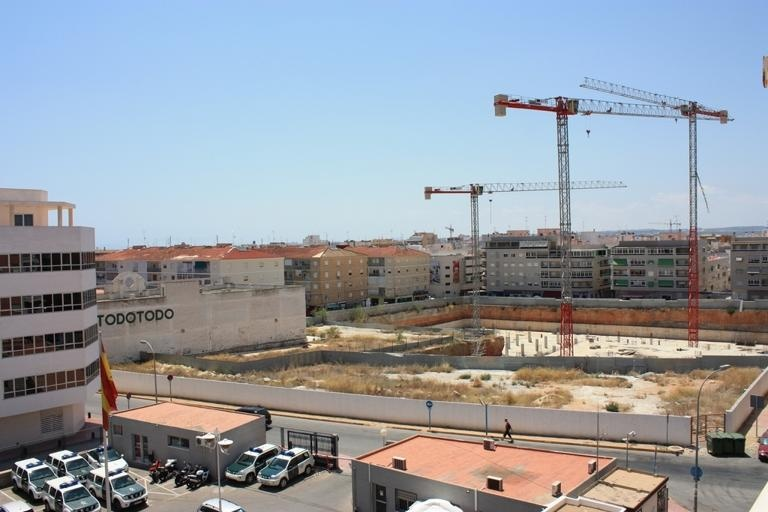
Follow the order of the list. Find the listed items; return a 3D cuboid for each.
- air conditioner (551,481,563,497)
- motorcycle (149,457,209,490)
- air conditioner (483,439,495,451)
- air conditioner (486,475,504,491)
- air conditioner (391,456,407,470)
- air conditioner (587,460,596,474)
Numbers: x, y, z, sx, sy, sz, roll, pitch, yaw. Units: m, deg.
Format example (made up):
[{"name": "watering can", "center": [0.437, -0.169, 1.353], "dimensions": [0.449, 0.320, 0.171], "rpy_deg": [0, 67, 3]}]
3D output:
[{"name": "air conditioner", "center": [10.072, 13.434, 47.448], "dimensions": [0.582, 0.774, 0.912], "rpy_deg": [1, 0, 35]}, {"name": "motorcycle", "center": [-13.854, 14.781, 55.509], "dimensions": [3.807, 1.840, 1.704], "rpy_deg": [-2, 10, -6]}, {"name": "air conditioner", "center": [6.789, 11.926, 52.264], "dimensions": [0.683, 0.728, 0.888], "rpy_deg": [-1, 1, 20]}, {"name": "air conditioner", "center": [6.530, 13.280, 48.063], "dimensions": [0.787, 0.612, 0.394], "rpy_deg": [4, 8, 28]}, {"name": "air conditioner", "center": [0.952, 12.569, 49.975], "dimensions": [0.687, 0.573, 0.370], "rpy_deg": [9, 12, 18]}, {"name": "air conditioner", "center": [12.481, 12.538, 48.891], "dimensions": [0.336, 0.698, 0.856], "rpy_deg": [0, 1, 32]}]
